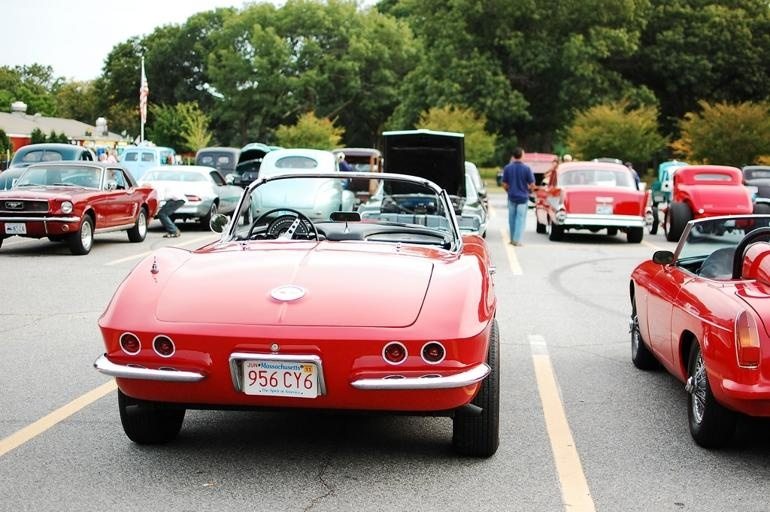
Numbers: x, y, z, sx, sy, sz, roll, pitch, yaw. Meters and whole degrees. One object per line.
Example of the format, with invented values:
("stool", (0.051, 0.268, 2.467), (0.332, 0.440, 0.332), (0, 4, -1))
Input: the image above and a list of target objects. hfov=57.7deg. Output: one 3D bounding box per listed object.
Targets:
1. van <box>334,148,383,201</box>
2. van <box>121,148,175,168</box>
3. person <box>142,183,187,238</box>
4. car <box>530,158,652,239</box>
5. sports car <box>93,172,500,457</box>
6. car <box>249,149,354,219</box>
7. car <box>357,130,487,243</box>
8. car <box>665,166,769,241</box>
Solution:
("van", (-1.028, -3.460, 28.390), (1.714, 1.866, 3.320), (1, 16, 0))
("van", (-11.623, -4.549, 34.774), (2.576, 1.319, 1.515), (-6, 11, -22))
("person", (-5.958, -1.535, 19.469), (0.804, 2.043, 0.625), (16, 23, 21))
("car", (5.579, -1.658, 19.458), (1.618, 1.181, 3.102), (1, 11, 2))
("sports car", (-0.282, 0.446, 6.404), (1.977, 1.455, 3.585), (1, 6, 8))
("car", (-2.025, -1.626, 17.799), (1.843, 1.522, 3.546), (0, 12, 3))
("car", (1.130, -1.868, 16.736), (2.023, 2.328, 3.667), (1, 10, 2))
("car", (7.368, -1.243, 15.655), (1.990, 1.617, 3.379), (0, 11, 2))
